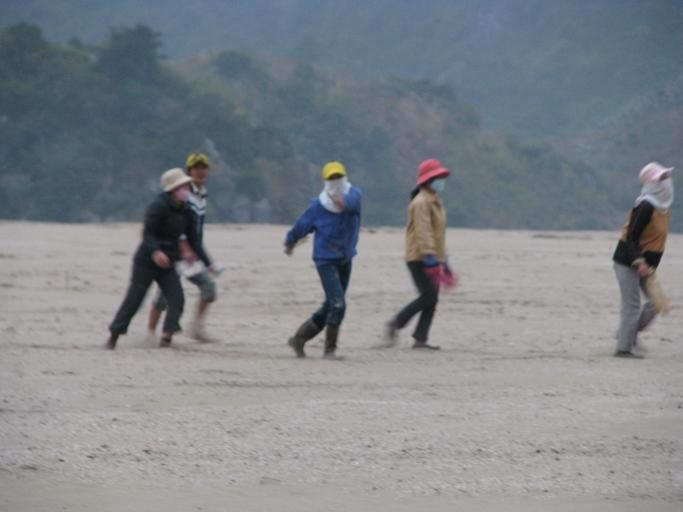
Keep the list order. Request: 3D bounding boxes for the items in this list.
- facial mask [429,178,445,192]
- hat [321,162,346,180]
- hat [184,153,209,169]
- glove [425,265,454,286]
[{"bbox_3d":[2.330,-1.777,32.752,0.368,0.251,0.306,-5,5,4],"label":"facial mask"},{"bbox_3d":[-0.217,-2.089,32.251,0.477,0.291,0.639,-6,1,0],"label":"hat"},{"bbox_3d":[-3.538,-2.333,32.573,0.525,0.361,0.203,3,5,-9],"label":"hat"},{"bbox_3d":[2.435,0.442,32.600,0.656,0.152,0.439,34,35,-19],"label":"glove"}]
